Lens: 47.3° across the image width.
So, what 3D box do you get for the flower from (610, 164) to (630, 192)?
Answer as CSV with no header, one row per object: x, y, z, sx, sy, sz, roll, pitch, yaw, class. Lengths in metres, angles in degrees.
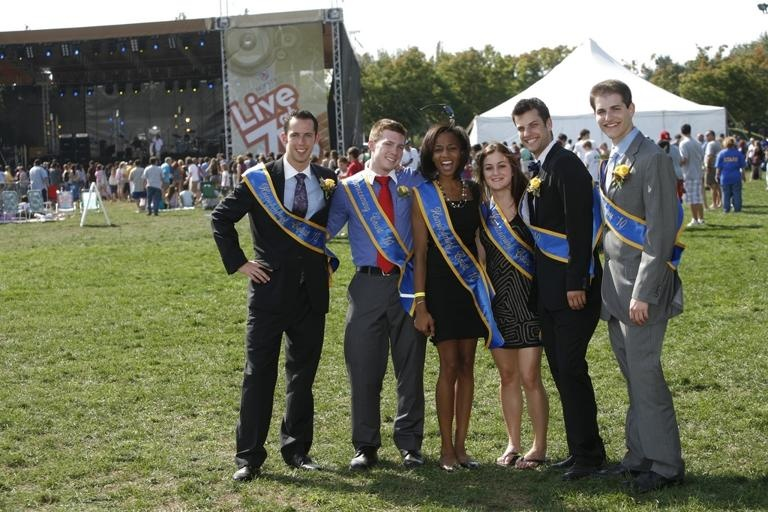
2.247,-0.747,8.394,0.194,0.204,0.095,-7,16,-23,flower

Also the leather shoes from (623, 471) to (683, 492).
2.498,2.124,8.196,0.518,0.215,0.196,-5,8,-3,leather shoes

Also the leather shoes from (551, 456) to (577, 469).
1.771,2.050,8.692,0.273,0.125,0.096,2,-5,14,leather shoes

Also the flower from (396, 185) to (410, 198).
0.194,-0.649,8.845,0.104,0.107,0.050,35,-14,-1,flower

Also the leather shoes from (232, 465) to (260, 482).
-1.344,2.121,8.539,0.226,0.097,0.119,3,25,-23,leather shoes

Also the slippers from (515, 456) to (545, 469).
1.447,2.057,8.721,0.199,0.057,0.123,-2,0,-5,slippers

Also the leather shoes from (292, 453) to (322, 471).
-0.761,2.052,8.751,0.314,0.132,0.127,0,2,27,leather shoes

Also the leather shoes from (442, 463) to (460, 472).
0.664,2.101,8.691,0.178,0.077,0.061,1,-8,24,leather shoes

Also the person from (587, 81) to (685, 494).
2.420,0.250,8.325,0.789,3.894,0.491,-2,-7,19,person

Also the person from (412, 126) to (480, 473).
0.639,0.405,8.807,0.641,3.446,0.476,5,-8,-39,person

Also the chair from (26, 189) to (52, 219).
-9.509,-1.308,24.252,0.619,0.893,1.606,3,-7,-21,chair

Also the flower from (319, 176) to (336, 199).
-0.552,-0.670,8.891,0.169,0.203,0.188,2,5,15,flower

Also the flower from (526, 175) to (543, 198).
1.474,-0.683,8.665,0.096,0.182,0.156,6,3,-29,flower

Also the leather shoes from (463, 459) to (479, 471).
0.859,2.085,8.721,0.065,0.045,0.163,-4,3,-36,leather shoes

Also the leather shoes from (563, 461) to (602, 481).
1.912,2.083,8.499,0.429,0.182,0.145,-2,-1,-25,leather shoes

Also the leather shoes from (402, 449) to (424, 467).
0.282,2.032,8.789,0.228,0.163,0.137,0,-6,2,leather shoes

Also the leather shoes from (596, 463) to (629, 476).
2.214,2.075,8.513,0.326,0.140,0.115,3,-2,5,leather shoes

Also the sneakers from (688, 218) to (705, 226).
6.229,-0.677,17.606,0.416,0.189,0.145,-1,6,-14,sneakers
